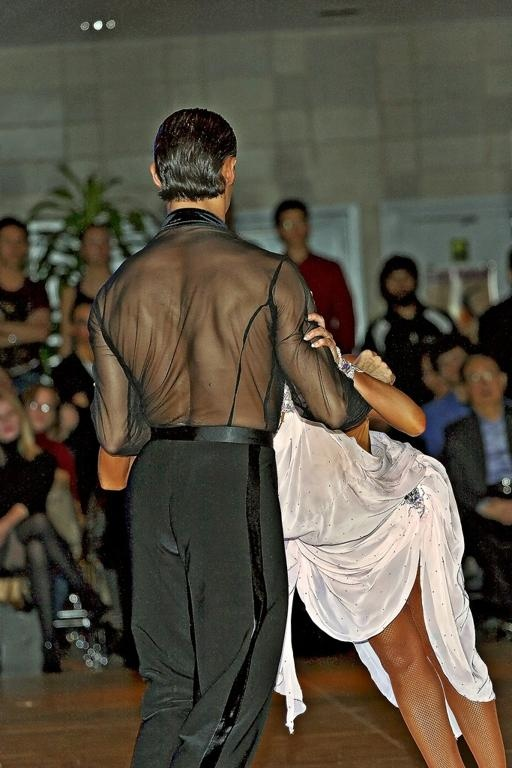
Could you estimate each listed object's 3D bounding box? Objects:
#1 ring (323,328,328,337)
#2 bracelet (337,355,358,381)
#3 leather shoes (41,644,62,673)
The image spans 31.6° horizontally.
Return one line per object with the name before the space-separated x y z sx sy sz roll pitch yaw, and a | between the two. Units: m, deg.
ring | 0.103 -0.076 1.337 0.009 0.009 0.003 -6 -3 9
bracelet | 0.156 -0.031 1.588 0.039 0.017 0.048 28 7 -40
leather shoes | -0.889 1.201 3.946 0.082 0.107 0.101 -2 4 -13
